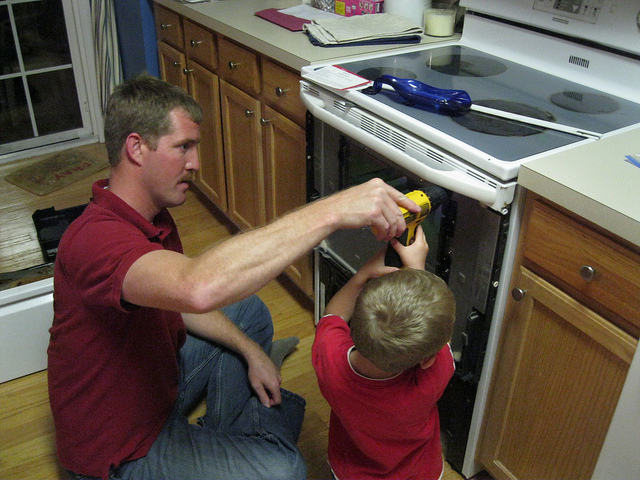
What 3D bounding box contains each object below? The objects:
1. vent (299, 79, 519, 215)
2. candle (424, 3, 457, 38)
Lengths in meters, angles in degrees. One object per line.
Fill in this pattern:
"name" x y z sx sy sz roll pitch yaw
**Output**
"vent" 0.190 -0.277 1.301 0.064 0.106 0.769 -21 41 -31
"candle" 0.449 -0.827 1.838 0.144 0.132 0.153 0 27 1
